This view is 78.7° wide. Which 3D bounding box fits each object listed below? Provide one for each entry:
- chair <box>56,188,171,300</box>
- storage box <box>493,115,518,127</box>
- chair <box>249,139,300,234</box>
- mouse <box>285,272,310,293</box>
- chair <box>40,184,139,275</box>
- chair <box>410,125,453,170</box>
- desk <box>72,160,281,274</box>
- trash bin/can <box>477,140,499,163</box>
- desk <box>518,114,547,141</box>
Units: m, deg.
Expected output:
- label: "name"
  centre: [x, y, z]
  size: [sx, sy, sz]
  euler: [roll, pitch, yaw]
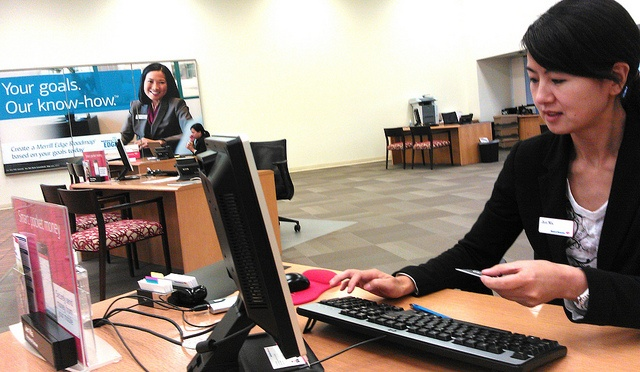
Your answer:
- label: "chair"
  centre: [-2.005, 0.489, 3.831]
  size: [0.778, 0.878, 0.766]
  euler: [-2, 4, 25]
- label: "storage box"
  centre: [5.499, -1.918, 11.639]
  size: [0.409, 0.222, 0.413]
  euler: [5, 10, 44]
- label: "chair"
  centre: [-0.764, -0.002, 5.023]
  size: [0.885, 1.176, 0.781]
  euler: [-6, 4, -4]
- label: "mouse"
  centre: [-0.092, 0.386, 1.573]
  size: [0.171, 0.048, 0.097]
  euler: [1, 8, 2]
- label: "chair"
  centre: [-2.236, 0.545, 4.179]
  size: [0.817, 1.072, 0.845]
  euler: [2, 8, 23]
- label: "chair"
  centre: [2.622, -0.987, 9.561]
  size: [0.900, 0.945, 0.883]
  euler: [-8, 8, -19]
- label: "desk"
  centre: [-1.462, -0.110, 4.007]
  size: [2.320, 1.000, 1.267]
  euler: [10, 16, 44]
- label: "trash bin/can"
  centre: [4.113, -0.851, 9.354]
  size: [0.651, 0.549, 0.493]
  euler: [-9, 8, -29]
- label: "desk"
  centre: [6.148, -1.662, 11.442]
  size: [0.636, 0.773, 0.627]
  euler: [-11, 8, 10]
